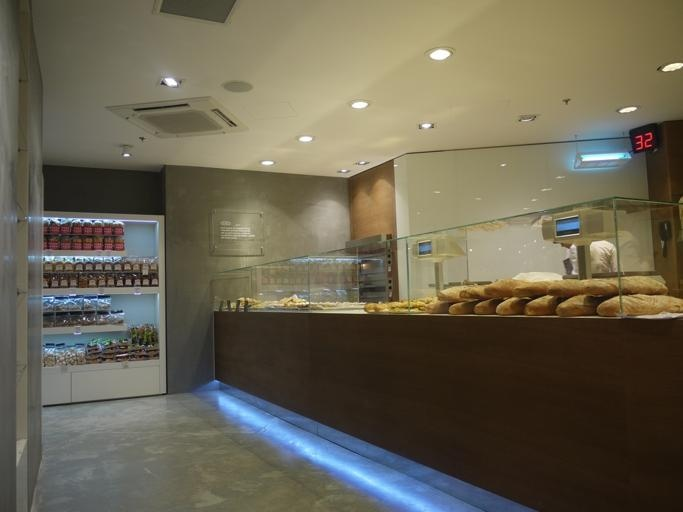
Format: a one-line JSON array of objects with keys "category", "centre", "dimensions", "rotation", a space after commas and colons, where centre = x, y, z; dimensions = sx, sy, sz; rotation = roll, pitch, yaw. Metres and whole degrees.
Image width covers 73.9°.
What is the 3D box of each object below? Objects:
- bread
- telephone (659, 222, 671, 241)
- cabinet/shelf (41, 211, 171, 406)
[{"category": "bread", "centre": [0.993, 0.219, 2.458], "dimensions": [0.268, 0.178, 1.427], "rotation": [-1, -2, -37]}, {"category": "telephone", "centre": [1.433, -0.113, 2.014], "dimensions": [0.056, 0.091, 0.022], "rotation": [4, -7, 1]}, {"category": "cabinet/shelf", "centre": [-3.304, 0.674, 6.358], "dimensions": [1.519, 2.592, 0.634], "rotation": [-2, -3, -29]}]
